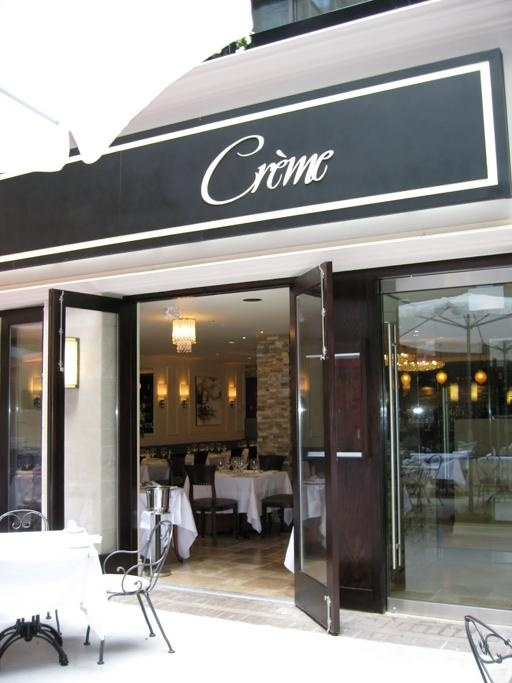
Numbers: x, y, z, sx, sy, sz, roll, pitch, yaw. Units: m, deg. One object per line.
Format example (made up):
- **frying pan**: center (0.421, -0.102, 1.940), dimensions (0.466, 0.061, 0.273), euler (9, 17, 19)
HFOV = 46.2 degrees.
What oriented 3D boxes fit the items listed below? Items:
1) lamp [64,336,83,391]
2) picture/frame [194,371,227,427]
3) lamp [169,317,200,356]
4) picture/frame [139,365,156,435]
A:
- **lamp**: center (-1.501, 0.172, 4.872), dimensions (0.056, 0.424, 0.242), euler (-3, -9, 11)
- **picture/frame**: center (-1.225, 1.479, 15.476), dimensions (0.116, 1.678, 1.408), euler (2, 4, 36)
- **lamp**: center (-0.931, -0.106, 7.719), dimensions (0.255, 0.369, 0.637), euler (-1, -9, -2)
- **picture/frame**: center (-2.565, 1.506, 14.163), dimensions (0.695, 1.644, 0.148), euler (-11, -13, 38)
